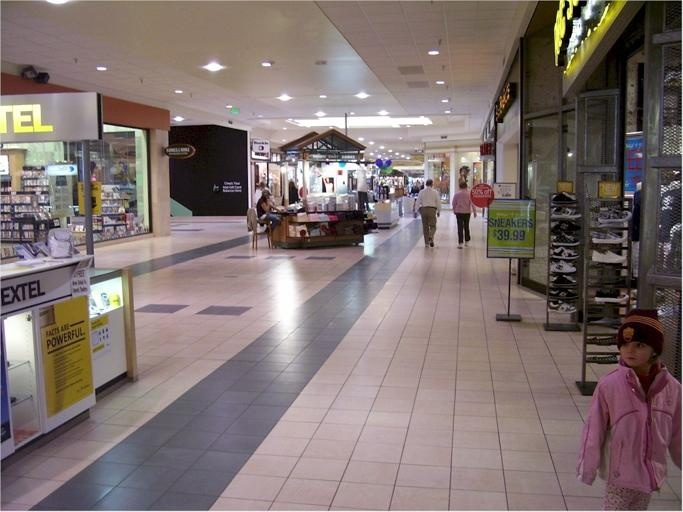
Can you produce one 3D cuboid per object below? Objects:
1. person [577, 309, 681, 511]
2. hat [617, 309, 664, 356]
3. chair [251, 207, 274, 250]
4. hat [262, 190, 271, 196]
[{"bbox_3d":[1.341,0.729,2.304,0.459,0.957,0.312,1,8,14],"label":"person"},{"bbox_3d":[1.375,0.352,2.326,0.186,0.210,0.214,1,-10,43],"label":"hat"},{"bbox_3d":[-2.119,-0.747,13.226,0.873,1.018,0.869,0,5,-25],"label":"chair"},{"bbox_3d":[-2.034,-1.742,13.509,0.271,0.177,0.330,-2,-1,-9],"label":"hat"}]
